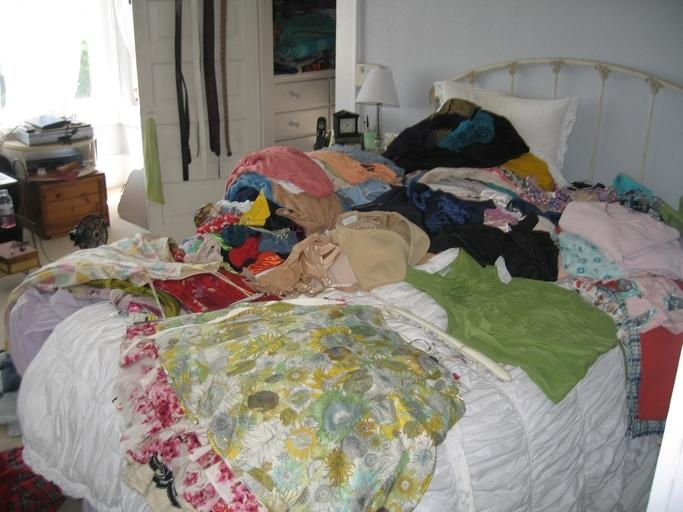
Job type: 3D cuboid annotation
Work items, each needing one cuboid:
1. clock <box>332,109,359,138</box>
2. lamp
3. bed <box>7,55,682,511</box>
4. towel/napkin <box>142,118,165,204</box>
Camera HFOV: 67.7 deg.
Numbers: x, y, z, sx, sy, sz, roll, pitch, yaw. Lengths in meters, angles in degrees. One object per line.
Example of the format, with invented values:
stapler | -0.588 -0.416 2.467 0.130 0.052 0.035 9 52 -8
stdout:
clock | 0.032 -1.007 4.024 0.262 0.253 0.203 -6 13 -25
lamp | 0.297 -1.138 4.029 0.348 0.623 0.345 -3 13 -20
bed | 0.118 0.022 2.388 1.899 1.190 1.943 24 41 30
towel/napkin | -1.545 -0.777 4.149 0.176 0.726 0.071 24 33 31
